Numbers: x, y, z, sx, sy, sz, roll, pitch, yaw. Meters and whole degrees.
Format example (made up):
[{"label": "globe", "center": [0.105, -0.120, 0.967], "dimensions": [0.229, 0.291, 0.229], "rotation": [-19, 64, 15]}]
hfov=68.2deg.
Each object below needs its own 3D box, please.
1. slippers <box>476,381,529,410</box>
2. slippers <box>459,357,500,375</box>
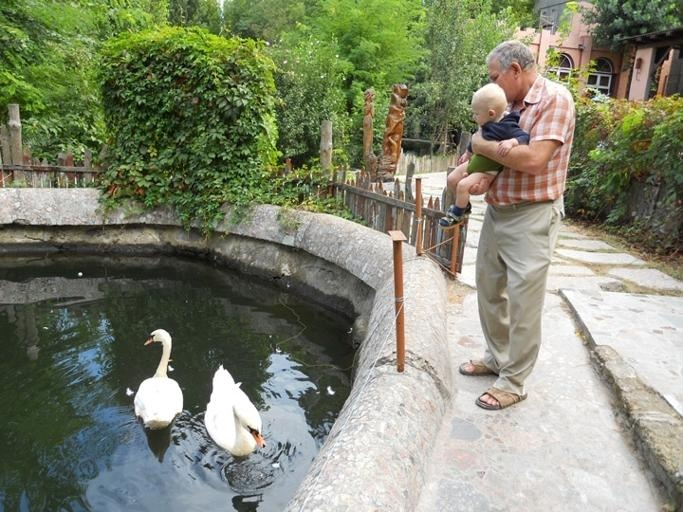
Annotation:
[{"label": "slippers", "center": [1.338, 1.171, 4.245], "dimensions": [0.351, 0.124, 0.176], "rotation": [-2, 19, -9]}, {"label": "slippers", "center": [1.244, 1.041, 4.653], "dimensions": [0.367, 0.169, 0.135], "rotation": [8, 16, 5]}]
